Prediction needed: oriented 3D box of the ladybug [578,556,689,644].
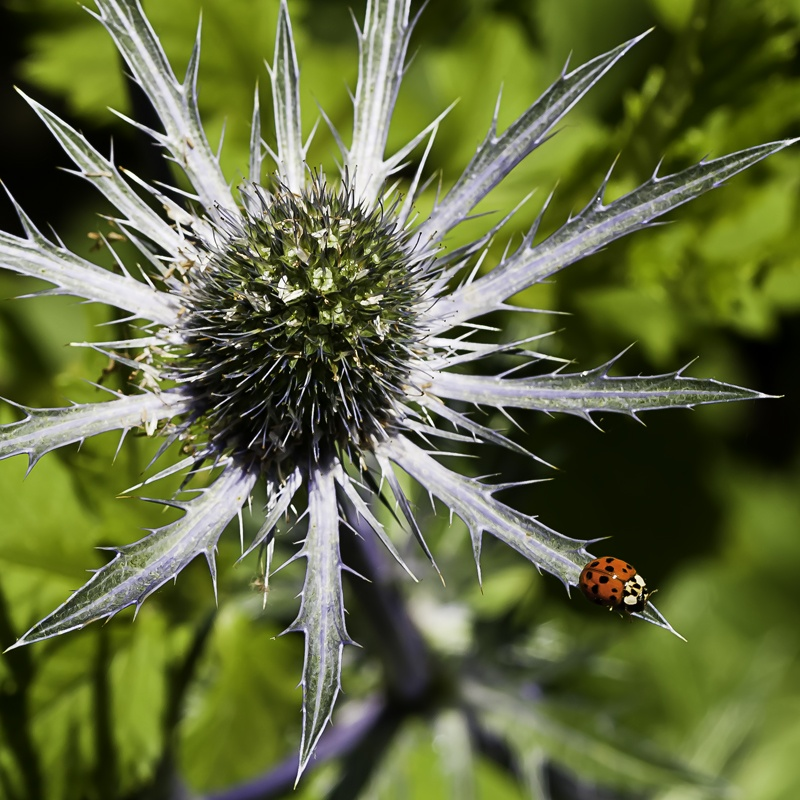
[{"bbox_3d":[0.387,0.346,1.627,0.219,0.060,0.098,33,-95,9],"label":"ladybug"}]
